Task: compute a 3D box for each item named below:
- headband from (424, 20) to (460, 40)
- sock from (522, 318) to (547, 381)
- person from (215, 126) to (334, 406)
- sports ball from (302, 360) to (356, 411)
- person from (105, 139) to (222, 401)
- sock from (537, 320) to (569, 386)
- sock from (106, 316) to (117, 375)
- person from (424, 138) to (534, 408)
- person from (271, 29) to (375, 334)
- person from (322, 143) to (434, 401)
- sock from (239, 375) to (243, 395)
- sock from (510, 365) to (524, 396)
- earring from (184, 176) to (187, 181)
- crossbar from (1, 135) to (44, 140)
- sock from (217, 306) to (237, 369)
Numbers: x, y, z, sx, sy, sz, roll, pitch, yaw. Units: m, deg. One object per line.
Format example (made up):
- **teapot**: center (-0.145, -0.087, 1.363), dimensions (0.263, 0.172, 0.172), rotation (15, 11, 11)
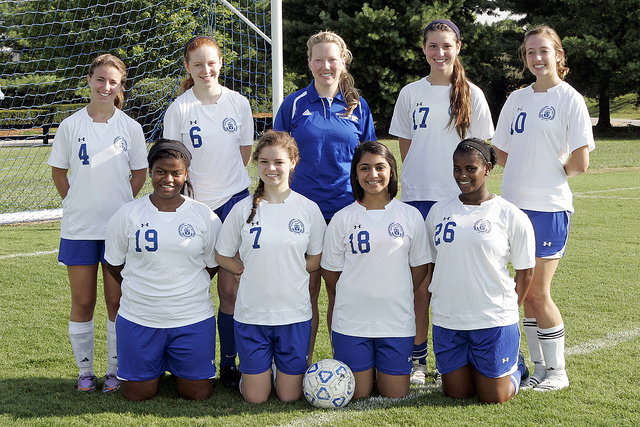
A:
- **headband**: center (1.142, -1.714, 5.778), dimensions (0.314, 0.204, 0.228), rotation (0, 7, 4)
- **sock**: center (1.940, 1.202, 5.547), dimensions (0.184, 0.451, 0.178), rotation (0, 0, 9)
- **person**: center (-0.437, 0.746, 5.596), dimensions (1.050, 2.813, 0.700), rotation (-1, 13, -13)
- **sports ball**: center (0.073, 1.456, 5.234), dimensions (0.419, 0.382, 0.375), rotation (-26, -33, 28)
- **person**: center (-1.375, 0.848, 5.567), dimensions (0.999, 2.921, 0.673), rotation (-2, 13, -15)
- **sock**: center (2.057, 1.262, 5.451), dimensions (0.384, 0.526, 0.261), rotation (11, -20, -27)
- **sock**: center (-1.843, 1.178, 5.459), dimensions (0.089, 0.472, 0.373), rotation (-3, 7, -20)
- **person**: center (1.342, 0.470, 5.248), dimensions (0.909, 2.183, 0.480), rotation (2, 7, 19)
- **person**: center (0.103, -0.218, 5.663), dimensions (0.989, 2.881, 0.914), rotation (0, 2, -10)
- **person**: center (0.552, 0.805, 5.614), dimensions (0.870, 2.930, 0.591), rotation (-4, 21, 1)
- **sock**: center (-0.682, 1.470, 5.351), dimensions (0.029, 0.168, 0.123), rotation (-2, 7, -8)
- **sock**: center (1.717, 1.419, 5.334), dimensions (0.051, 0.205, 0.336), rotation (3, 7, 28)
- **earring**: center (-1.199, -0.309, 5.512), dimensions (0.039, 0.035, 0.064), rotation (1, -5, -14)
- **crossbar**: center (-9.517, -2.397, 19.387), dimensions (1.003, 0.154, 3.264), rotation (-2, 7, -15)
- **sock**: center (-0.850, 1.137, 5.597), dimensions (0.226, 0.513, 0.195), rotation (1, 7, 11)
